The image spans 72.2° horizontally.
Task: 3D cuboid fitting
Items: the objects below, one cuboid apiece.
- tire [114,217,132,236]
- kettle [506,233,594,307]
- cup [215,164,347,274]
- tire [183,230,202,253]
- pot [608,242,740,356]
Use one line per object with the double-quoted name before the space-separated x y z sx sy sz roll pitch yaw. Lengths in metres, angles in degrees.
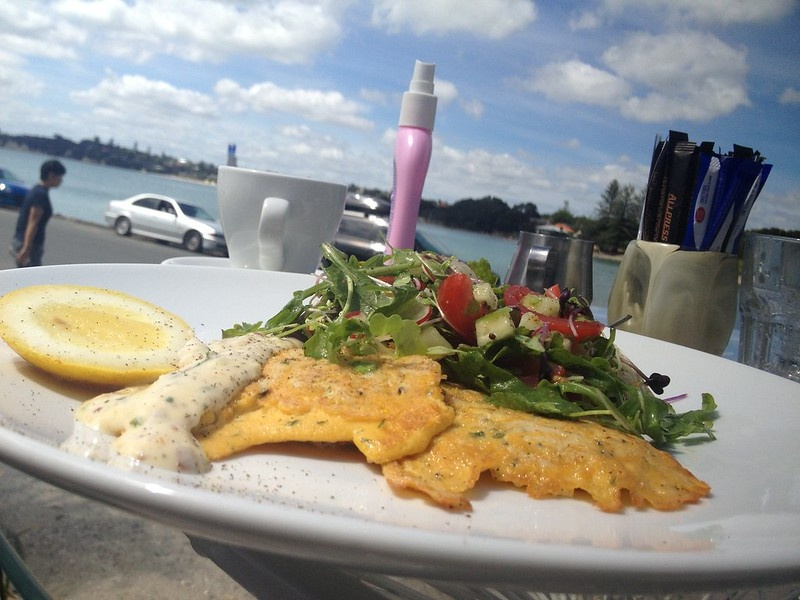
"tire" -5.270 -1.431 10.471 0.311 0.327 0.123 4 8 30
"kettle" 0.537 -0.113 1.871 0.209 0.279 0.313 6 9 36
"cup" -0.347 -0.185 1.864 0.339 0.310 0.427 1 -6 24
"tire" -3.806 -1.111 10.109 0.392 0.412 0.154 -1 4 6
"pot" 0.869 -0.052 1.938 0.391 0.404 0.378 5 9 -1
